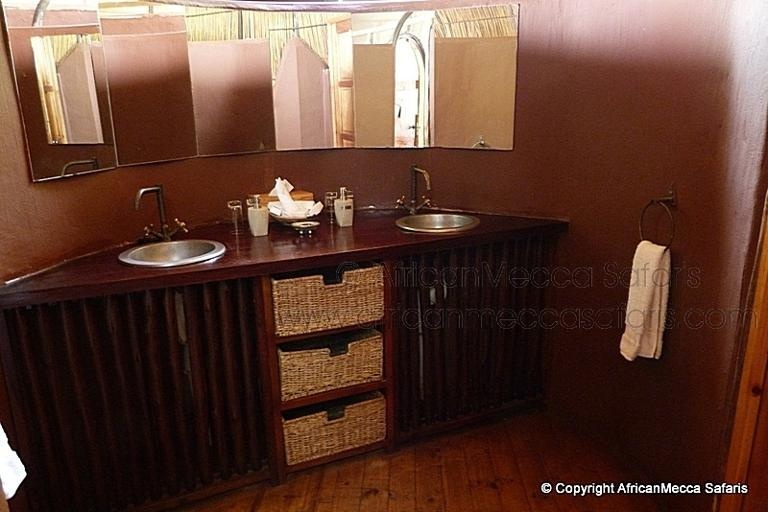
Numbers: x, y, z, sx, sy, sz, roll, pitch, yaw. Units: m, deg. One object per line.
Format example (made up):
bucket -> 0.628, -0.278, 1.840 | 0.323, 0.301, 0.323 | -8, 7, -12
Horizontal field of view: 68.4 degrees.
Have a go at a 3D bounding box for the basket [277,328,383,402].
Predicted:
basket -> -0.371, 0.553, 3.068 | 0.450, 0.256, 0.574 | 10, 11, 42

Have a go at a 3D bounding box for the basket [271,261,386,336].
basket -> -0.274, 0.232, 2.859 | 0.516, 0.255, 0.370 | -6, 8, -21

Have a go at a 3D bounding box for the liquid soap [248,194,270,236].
liquid soap -> -0.693, -0.220, 3.141 | 0.124, 0.220, 0.117 | 5, 22, 13

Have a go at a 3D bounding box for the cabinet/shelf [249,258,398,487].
cabinet/shelf -> -0.143, 0.712, 3.166 | 0.792, 1.034, 0.650 | -12, -24, 11

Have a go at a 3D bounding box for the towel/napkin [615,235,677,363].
towel/napkin -> 1.249, 0.224, 2.669 | 0.190, 0.562, 0.147 | 16, 26, 42

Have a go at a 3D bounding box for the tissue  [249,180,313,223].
tissue  -> -0.556, -0.287, 3.249 | 0.298, 0.182, 0.302 | -8, 26, -25

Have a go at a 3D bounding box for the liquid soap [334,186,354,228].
liquid soap -> -0.241, -0.291, 3.322 | 0.100, 0.209, 0.188 | -5, 19, -10

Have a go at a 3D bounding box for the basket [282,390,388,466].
basket -> -0.168, 1.017, 3.168 | 0.640, 0.249, 0.467 | -22, -33, 20

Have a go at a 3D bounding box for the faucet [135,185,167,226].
faucet -> -1.217, -0.253, 2.964 | 0.145, 0.221, 0.301 | -8, 19, -20
